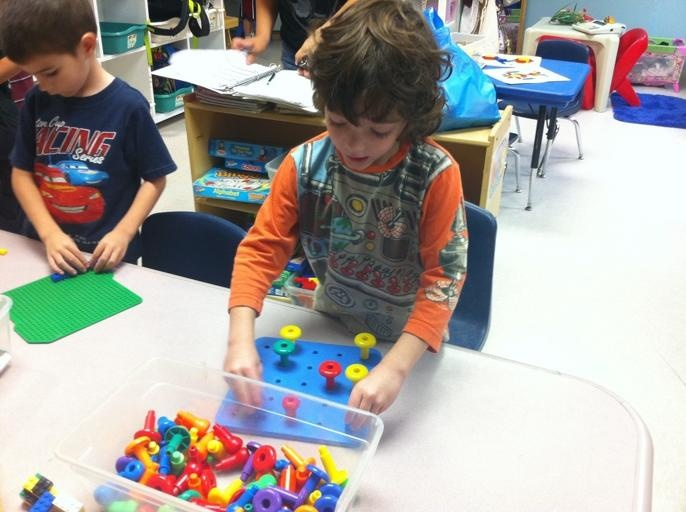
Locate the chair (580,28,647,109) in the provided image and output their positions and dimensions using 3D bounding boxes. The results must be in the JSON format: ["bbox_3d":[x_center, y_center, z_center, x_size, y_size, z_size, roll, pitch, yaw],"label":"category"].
[{"bbox_3d":[2.549,-1.716,4.730,0.533,0.619,0.453,6,18,16],"label":"chair"}]
